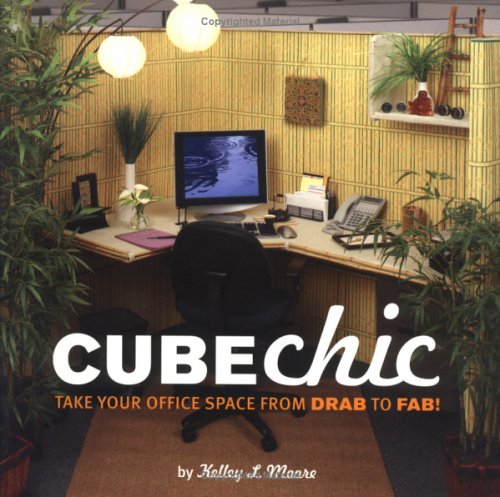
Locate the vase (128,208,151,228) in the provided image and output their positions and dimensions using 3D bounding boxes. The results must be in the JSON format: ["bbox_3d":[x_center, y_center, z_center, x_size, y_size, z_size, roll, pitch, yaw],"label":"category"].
[{"bbox_3d":[-0.581,-0.151,2.584,0.107,0.143,0.106,-2,15,-4],"label":"vase"}]

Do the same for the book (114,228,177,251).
[{"bbox_3d":[-0.483,-0.047,2.394,0.169,0.017,0.156,13,18,24],"label":"book"}]

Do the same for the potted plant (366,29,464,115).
[{"bbox_3d":[0.752,-0.822,2.332,0.459,0.380,0.357,-4,20,-7],"label":"potted plant"}]

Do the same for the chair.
[{"bbox_3d":[0.005,0.338,2.370,0.689,0.967,0.664,-1,9,-9],"label":"chair"}]

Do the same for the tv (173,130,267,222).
[{"bbox_3d":[-0.166,-0.433,2.801,0.559,0.484,0.256,-6,12,-24],"label":"tv"}]

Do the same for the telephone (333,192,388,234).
[{"bbox_3d":[0.580,-0.188,2.591,0.209,0.084,0.271,21,54,41],"label":"telephone"}]

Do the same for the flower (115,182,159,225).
[{"bbox_3d":[-0.597,-0.241,2.603,0.160,0.162,0.164,5,-5,-22],"label":"flower"}]
